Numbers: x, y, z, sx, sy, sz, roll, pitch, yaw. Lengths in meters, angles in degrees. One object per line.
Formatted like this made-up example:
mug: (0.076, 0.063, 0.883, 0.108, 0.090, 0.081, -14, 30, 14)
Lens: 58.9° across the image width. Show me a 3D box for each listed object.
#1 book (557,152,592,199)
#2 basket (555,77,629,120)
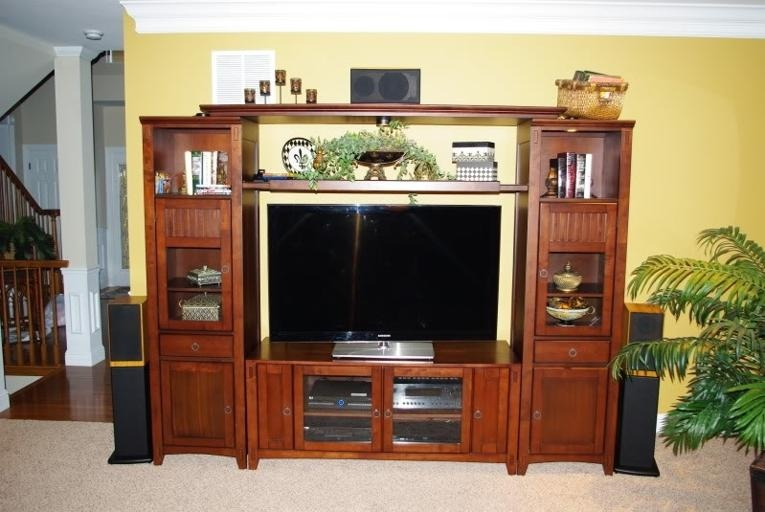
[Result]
book: (1.482, -0.677, 5.592, 0.389, 0.445, 0.348, 1, 9, 7)
basket: (1.668, -1.254, 5.407, 0.406, 0.233, 0.448, -1, 10, -4)
